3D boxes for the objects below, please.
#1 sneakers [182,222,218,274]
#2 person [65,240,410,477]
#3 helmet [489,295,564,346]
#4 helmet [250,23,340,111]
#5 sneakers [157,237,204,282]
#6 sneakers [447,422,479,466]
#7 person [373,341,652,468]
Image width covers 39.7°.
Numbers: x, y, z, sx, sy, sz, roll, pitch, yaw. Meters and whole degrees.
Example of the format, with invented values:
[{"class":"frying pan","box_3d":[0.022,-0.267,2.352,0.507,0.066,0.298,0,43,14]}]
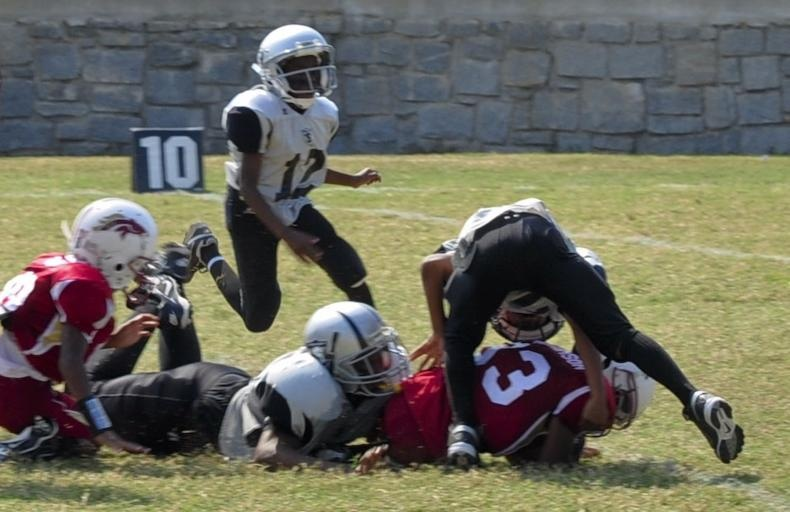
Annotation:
[{"class":"sneakers","box_3d":[-1.281,-0.051,7.209,0.239,0.342,0.176,-7,-3,43]},{"class":"person","box_3d":[-0.496,0.627,5.947,2.071,0.771,0.920,3,1,12]},{"class":"helmet","box_3d":[0.749,0.337,5.841,0.351,0.261,0.353,2,5,-4]},{"class":"helmet","box_3d":[-0.604,-1.153,6.673,0.496,0.506,0.281,2,10,-6]},{"class":"sneakers","box_3d":[-1.291,0.035,6.940,0.372,0.215,0.236,-6,2,23]},{"class":"sneakers","box_3d":[0.346,0.945,5.502,0.159,0.203,0.126,3,10,1]},{"class":"person","box_3d":[0.548,0.747,5.572,1.417,0.323,0.626,-2,0,-2]}]
